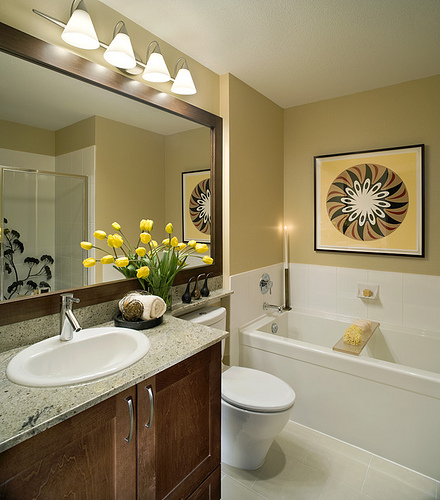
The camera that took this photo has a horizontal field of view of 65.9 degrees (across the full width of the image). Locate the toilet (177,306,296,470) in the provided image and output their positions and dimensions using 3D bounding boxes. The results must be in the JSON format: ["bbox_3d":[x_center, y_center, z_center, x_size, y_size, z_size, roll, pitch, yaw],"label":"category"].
[{"bbox_3d":[0.183,0.828,2.239,0.852,1.003,0.541,-3,-2,39],"label":"toilet"}]

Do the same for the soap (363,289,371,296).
[{"bbox_3d":[1.194,0.348,2.754,0.043,0.051,0.043,2,7,-3],"label":"soap"}]

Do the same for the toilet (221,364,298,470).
[{"bbox_3d":[0.163,0.973,1.922,0.496,0.427,0.434,3,3,35],"label":"toilet"}]

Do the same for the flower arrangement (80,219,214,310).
[{"bbox_3d":[-0.415,0.050,1.779,0.456,0.385,0.479,-2,3,6],"label":"flower arrangement"}]

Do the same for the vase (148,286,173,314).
[{"bbox_3d":[-0.300,0.258,1.801,0.120,0.155,0.126,-4,-5,44],"label":"vase"}]
